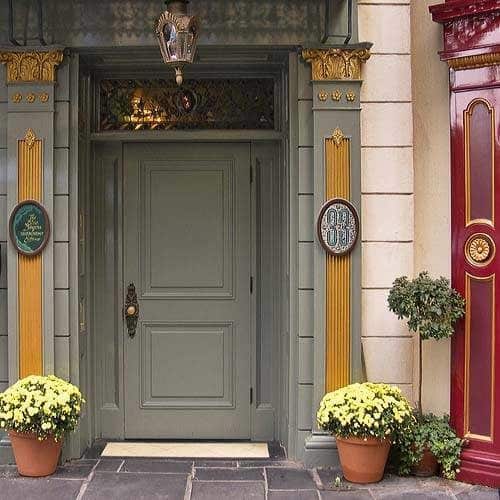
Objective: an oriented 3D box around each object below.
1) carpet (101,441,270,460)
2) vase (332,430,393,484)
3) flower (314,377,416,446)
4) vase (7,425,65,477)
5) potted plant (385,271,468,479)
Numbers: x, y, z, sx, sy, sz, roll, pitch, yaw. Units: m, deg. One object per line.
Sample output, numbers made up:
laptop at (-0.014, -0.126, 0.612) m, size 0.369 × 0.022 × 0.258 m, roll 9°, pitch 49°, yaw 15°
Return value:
carpet at (-0.449, 1.412, 4.923) m, size 1.158 × 0.032 × 0.315 m, roll -1°, pitch 6°, yaw 2°
vase at (0.693, 1.239, 4.291) m, size 0.268 × 0.262 × 0.312 m, roll 0°, pitch -13°, yaw 5°
flower at (0.711, 1.001, 4.290) m, size 0.341 × 0.287 × 0.451 m, roll 2°, pitch -8°, yaw -4°
vase at (-1.344, 1.275, 4.373) m, size 0.268 × 0.260 × 0.314 m, roll 1°, pitch -16°, yaw 0°
potted plant at (1.124, 0.796, 4.478) m, size 0.473 × 1.288 × 0.331 m, roll 0°, pitch 5°, yaw 7°
